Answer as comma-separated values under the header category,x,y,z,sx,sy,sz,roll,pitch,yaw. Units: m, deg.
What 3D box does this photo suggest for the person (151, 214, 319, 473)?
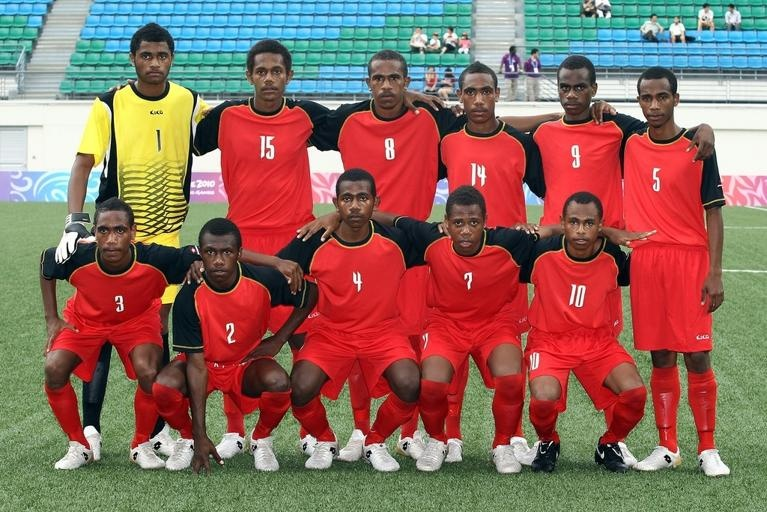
category,x,y,z,sx,sy,sz,roll,pitch,yaw
person,-1.180,0.716,7.597,1.527,1.905,1.070,-3,8,-22

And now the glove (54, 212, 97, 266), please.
category,x,y,z,sx,sy,sz,roll,pitch,yaw
glove,-2.510,-0.119,7.594,0.306,0.414,0.121,-2,-25,-4

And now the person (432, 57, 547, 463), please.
category,x,y,z,sx,sy,sz,roll,pitch,yaw
person,0.823,0.183,7.920,1.011,3.618,0.991,1,-2,5

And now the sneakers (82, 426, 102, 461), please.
category,x,y,z,sx,sy,sz,roll,pitch,yaw
sneakers,-2.367,1.536,7.544,0.111,0.127,0.322,-1,21,-15
